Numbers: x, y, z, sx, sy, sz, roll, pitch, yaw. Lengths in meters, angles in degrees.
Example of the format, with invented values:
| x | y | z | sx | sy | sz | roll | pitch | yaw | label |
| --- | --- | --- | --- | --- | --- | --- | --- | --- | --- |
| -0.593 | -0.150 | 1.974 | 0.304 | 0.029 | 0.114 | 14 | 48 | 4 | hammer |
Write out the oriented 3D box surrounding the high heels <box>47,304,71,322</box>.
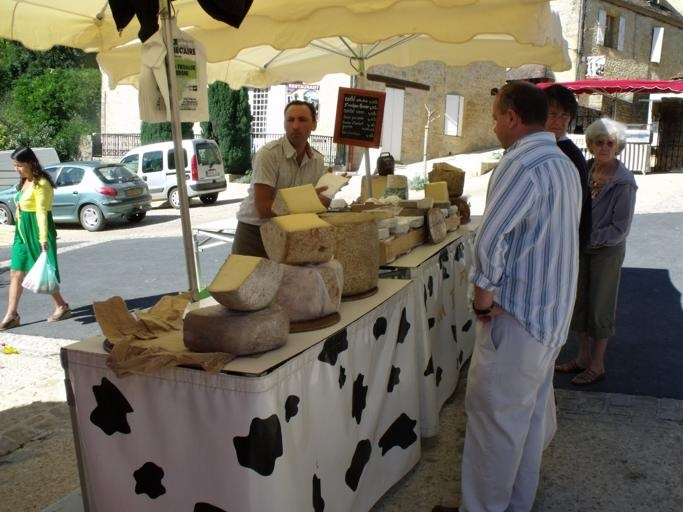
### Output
| x | y | z | sx | sy | sz | roll | pitch | yaw | label |
| --- | --- | --- | --- | --- | --- | --- | --- | --- | --- |
| -3.566 | 0.718 | 6.588 | 0.143 | 0.137 | 0.290 | -4 | 6 | 15 | high heels |

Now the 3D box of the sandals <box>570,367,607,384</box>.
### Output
| x | y | z | sx | sy | sz | roll | pitch | yaw | label |
| --- | --- | --- | --- | --- | --- | --- | --- | --- | --- |
| 2.028 | 0.990 | 4.303 | 0.263 | 0.106 | 0.123 | -4 | 4 | -20 | sandals |
